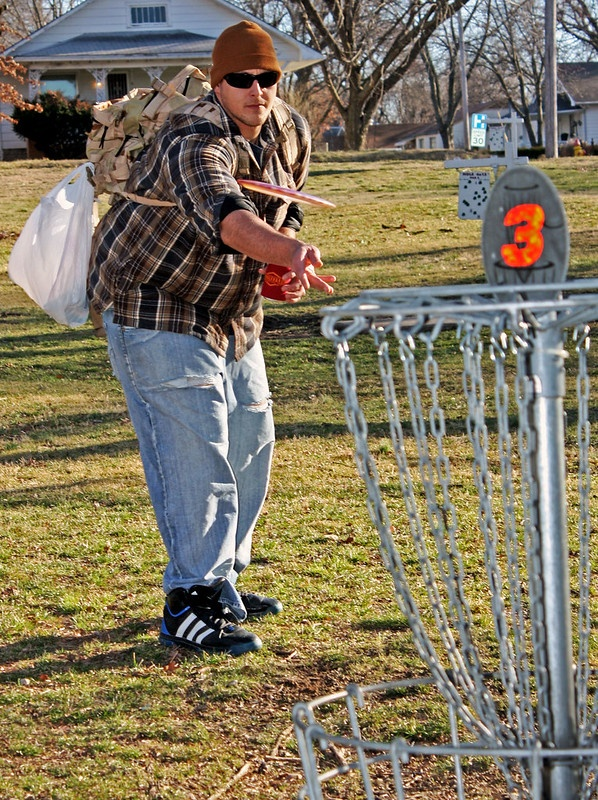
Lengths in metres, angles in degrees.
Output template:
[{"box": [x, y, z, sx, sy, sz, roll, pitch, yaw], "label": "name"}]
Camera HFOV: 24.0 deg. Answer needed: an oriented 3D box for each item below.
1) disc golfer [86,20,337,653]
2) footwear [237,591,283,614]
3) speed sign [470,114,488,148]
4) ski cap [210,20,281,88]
[{"box": [-0.157, -0.152, 4.511, 0.886, 2.015, 0.862, -12, 26, -37], "label": "disc golfer"}, {"box": [-0.140, 0.719, 4.988, 0.167, 0.048, 0.058, -2, 3, 16], "label": "footwear"}, {"box": [2.089, -3.252, 16.716, 0.169, 0.372, 0.769, -4, 11, 8], "label": "speed sign"}, {"box": [-0.173, -1.099, 4.402, 0.244, 0.210, 0.242, -13, 14, -33], "label": "ski cap"}]
